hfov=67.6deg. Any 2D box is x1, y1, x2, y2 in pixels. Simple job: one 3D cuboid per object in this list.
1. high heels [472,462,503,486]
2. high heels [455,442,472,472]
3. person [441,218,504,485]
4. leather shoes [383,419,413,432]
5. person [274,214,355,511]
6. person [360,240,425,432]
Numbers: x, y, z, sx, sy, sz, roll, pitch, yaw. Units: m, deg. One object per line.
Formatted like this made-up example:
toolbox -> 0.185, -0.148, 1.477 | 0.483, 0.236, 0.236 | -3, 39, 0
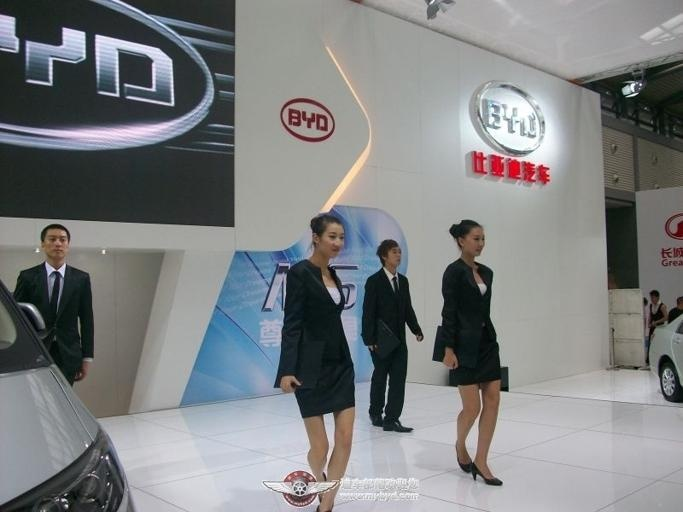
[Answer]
high heels -> 1.021, 1.558, 3.684 | 0.255, 0.157, 0.090 | -4, -9, 32
high heels -> 0.892, 1.486, 3.765 | 0.092, 0.270, 0.068 | -12, 4, -18
person -> 0.951, 0.665, 3.783 | 0.432, 1.875, 0.465 | -1, -2, 12
leather shoes -> 0.538, 1.636, 5.024 | 0.314, 0.155, 0.109 | -2, -8, 12
person -> -0.169, 0.644, 3.135 | 0.485, 1.442, 0.304 | 0, -2, -3
person -> 0.512, 0.763, 5.186 | 0.585, 1.862, 0.543 | -1, -2, 5
